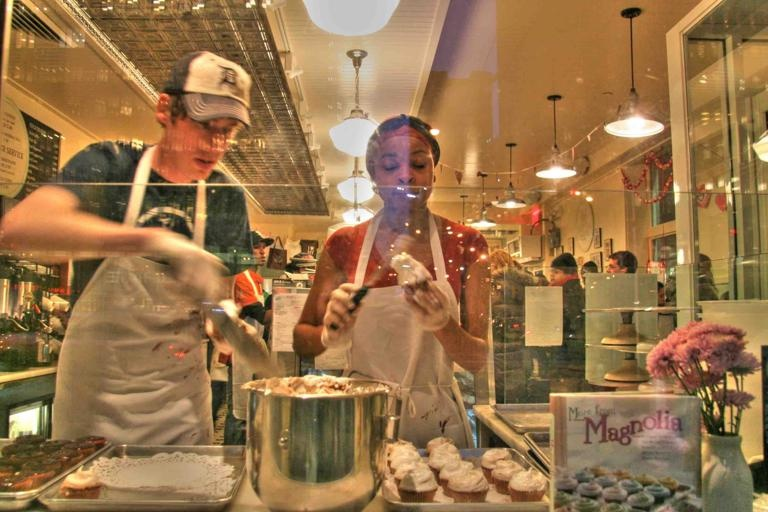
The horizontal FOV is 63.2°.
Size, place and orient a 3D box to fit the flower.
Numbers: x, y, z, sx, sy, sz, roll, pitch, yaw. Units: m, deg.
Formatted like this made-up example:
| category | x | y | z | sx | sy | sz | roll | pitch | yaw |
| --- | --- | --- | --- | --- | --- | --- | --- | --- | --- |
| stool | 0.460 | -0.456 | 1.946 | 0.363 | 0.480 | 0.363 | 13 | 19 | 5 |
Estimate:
| category | x | y | z | sx | sy | sz | roll | pitch | yaw |
| --- | --- | --- | --- | --- | --- | --- | --- | --- | --- |
| flower | 1.033 | 0.367 | 2.182 | 0.440 | 0.408 | 0.337 | -12 | -1 | 28 |

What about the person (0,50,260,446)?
| category | x | y | z | sx | sy | sz | roll | pitch | yaw |
| --- | --- | --- | --- | --- | --- | --- | --- | --- | --- |
| person | -0.842 | -0.039 | 2.223 | 0.879 | 1.392 | 0.342 | 2 | -12 | -9 |

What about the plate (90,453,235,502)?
| category | x | y | z | sx | sy | sz | roll | pitch | yaw |
| --- | --- | --- | --- | --- | --- | --- | --- | --- | --- |
| plate | -0.705 | 0.697 | 2.012 | 0.480 | 0.111 | 0.203 | -1 | -10 | 4 |

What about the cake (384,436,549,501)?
| category | x | y | z | sx | sy | sz | roll | pitch | yaw |
| --- | --- | --- | --- | --- | --- | --- | --- | --- | --- |
| cake | 0.262 | 0.709 | 2.097 | 0.524 | 0.175 | 0.283 | 0 | -10 | -1 |

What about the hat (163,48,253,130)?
| category | x | y | z | sx | sy | sz | roll | pitch | yaw |
| --- | --- | --- | --- | --- | --- | --- | --- | --- | --- |
| hat | -0.670 | -0.626 | 2.329 | 0.240 | 0.160 | 0.325 | -1 | 23 | -47 |

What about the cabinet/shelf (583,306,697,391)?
| category | x | y | z | sx | sy | sz | roll | pitch | yaw |
| --- | --- | --- | --- | --- | --- | --- | --- | --- | --- |
| cabinet/shelf | 0.872 | 0.285 | 2.121 | 0.329 | 0.181 | 0.295 | 1 | -1 | -32 |

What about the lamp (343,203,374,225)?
| category | x | y | z | sx | sy | sz | roll | pitch | yaw |
| --- | --- | --- | --- | --- | --- | --- | --- | --- | --- |
| lamp | -0.098 | -0.151 | 2.264 | 0.078 | 0.046 | 0.079 | 9 | -19 | -36 |

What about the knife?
| category | x | y | z | sx | sy | sz | roll | pitch | yaw |
| --- | --- | --- | --- | --- | --- | --- | --- | --- | --- |
| knife | -0.028 | 0.056 | 2.333 | 0.176 | 0.502 | 0.062 | 36 | -10 | -15 |

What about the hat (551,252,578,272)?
| category | x | y | z | sx | sy | sz | roll | pitch | yaw |
| --- | --- | --- | --- | --- | --- | --- | --- | --- | --- |
| hat | 0.619 | 0.016 | 2.130 | 0.060 | 0.050 | 0.080 | 8 | 4 | -1 |

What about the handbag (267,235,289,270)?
| category | x | y | z | sx | sy | sz | roll | pitch | yaw |
| --- | --- | --- | --- | --- | --- | --- | --- | --- | --- |
| handbag | -0.379 | -0.010 | 2.239 | 0.042 | 0.111 | 0.097 | -5 | -12 | 22 |

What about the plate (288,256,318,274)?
| category | x | y | z | sx | sy | sz | roll | pitch | yaw |
| --- | --- | --- | --- | --- | --- | --- | --- | --- | --- |
| plate | -0.305 | 0.033 | 2.332 | 0.078 | 0.042 | 0.074 | 2 | -3 | -12 |
